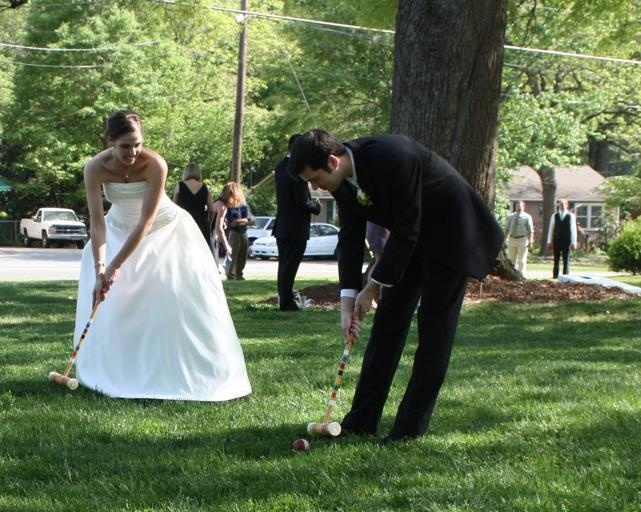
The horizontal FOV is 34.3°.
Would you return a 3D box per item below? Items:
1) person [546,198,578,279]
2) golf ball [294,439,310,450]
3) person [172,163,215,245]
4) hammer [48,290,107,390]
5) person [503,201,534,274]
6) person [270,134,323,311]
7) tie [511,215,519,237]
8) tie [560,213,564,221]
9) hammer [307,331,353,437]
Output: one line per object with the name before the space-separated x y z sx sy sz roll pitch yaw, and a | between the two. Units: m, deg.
person | 4.777 -0.359 20.558 0.480 1.610 0.358 4 17 23
golf ball | -0.174 1.662 9.095 0.101 0.092 0.087 9 -43 -5
person | -1.819 -0.853 15.009 0.467 1.599 0.507 0 0 -13
hammer | -2.464 0.814 10.453 0.465 1.013 0.540 -2 7 -35
person | 3.929 -0.335 20.580 0.525 1.614 0.421 8 25 21
person | -0.396 -0.373 13.676 0.638 2.051 0.562 0 0 37
tie | 3.846 -0.607 20.418 0.192 0.417 0.243 7 13 38
tie | 4.739 -0.804 20.337 0.099 0.154 0.054 2 11 18
hammer | 0.127 1.223 9.384 0.155 0.897 0.307 29 -24 -33
